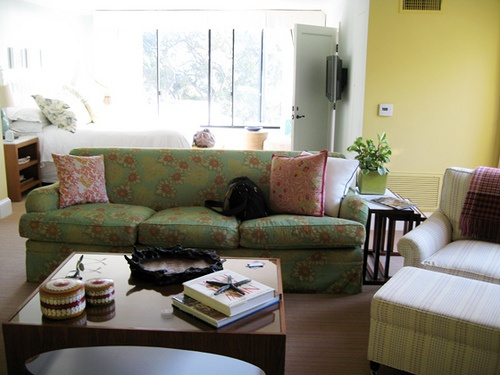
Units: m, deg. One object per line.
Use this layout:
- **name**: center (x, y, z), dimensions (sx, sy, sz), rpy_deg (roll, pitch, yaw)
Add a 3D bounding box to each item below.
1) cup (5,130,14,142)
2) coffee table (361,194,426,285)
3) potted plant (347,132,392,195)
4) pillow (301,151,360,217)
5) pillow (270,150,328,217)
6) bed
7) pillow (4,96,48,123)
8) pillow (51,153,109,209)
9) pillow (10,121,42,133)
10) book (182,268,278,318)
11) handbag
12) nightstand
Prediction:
- **cup**: center (-2.982, -0.634, 4.901), dimensions (0.083, 0.130, 0.059), rpy_deg (-3, 14, -11)
- **coffee table**: center (1.278, 0.431, 3.503), dimensions (0.504, 0.584, 0.620), rpy_deg (1, 10, 7)
- **potted plant**: center (1.104, -0.201, 3.626), dimensions (0.389, 0.534, 0.355), rpy_deg (0, -2, 12)
- **pillow**: center (0.739, -0.049, 3.266), dimensions (0.440, 0.422, 0.175), rpy_deg (9, -12, 8)
- **pillow**: center (0.406, -0.025, 3.398), dimensions (0.564, 0.538, 0.201), rpy_deg (2, 3, 37)
- **bed**: center (-2.198, -0.878, 5.768), dimensions (1.856, 0.806, 1.796), rpy_deg (-1, 24, -7)
- **pillow**: center (-3.009, -1.070, 5.402), dimensions (0.358, 0.097, 0.363), rpy_deg (45, 32, 17)
- **pillow**: center (-1.464, -0.043, 3.442), dimensions (0.419, 0.463, 0.185), rpy_deg (-7, -16, -30)
- **pillow**: center (-3.050, -0.833, 5.435), dimensions (0.404, 0.184, 0.161), rpy_deg (-7, 15, -28)
- **book**: center (-0.086, 0.540, 2.055), dimensions (0.256, 0.052, 0.263), rpy_deg (-4, 10, -43)
- **handbag**: center (-0.148, 0.102, 3.387), dimensions (0.568, 0.300, 0.404), rpy_deg (-11, 15, -6)
- **nightstand**: center (-2.846, -0.252, 4.921), dimensions (0.403, 0.722, 0.760), rpy_deg (0, 12, -3)
